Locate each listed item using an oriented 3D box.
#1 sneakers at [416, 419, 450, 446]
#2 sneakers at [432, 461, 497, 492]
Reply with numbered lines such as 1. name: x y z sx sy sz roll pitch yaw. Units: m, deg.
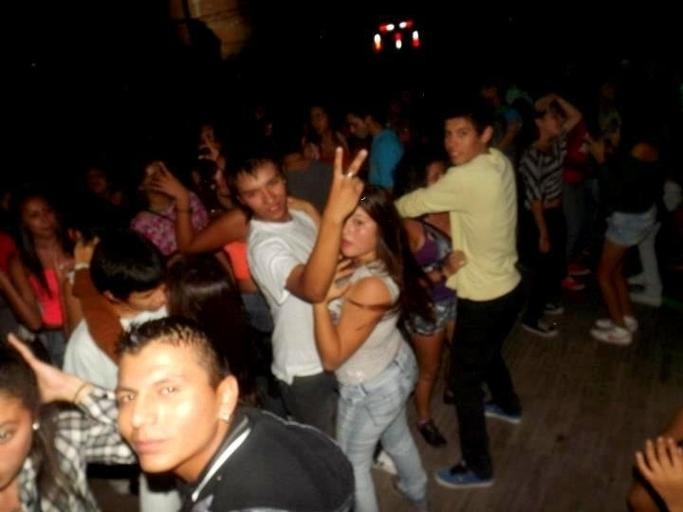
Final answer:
1. sneakers: 0.715 1.411 4.052 0.135 0.106 0.259 -38 62 -22
2. sneakers: 0.881 1.614 3.722 0.433 0.192 0.170 2 33 5
